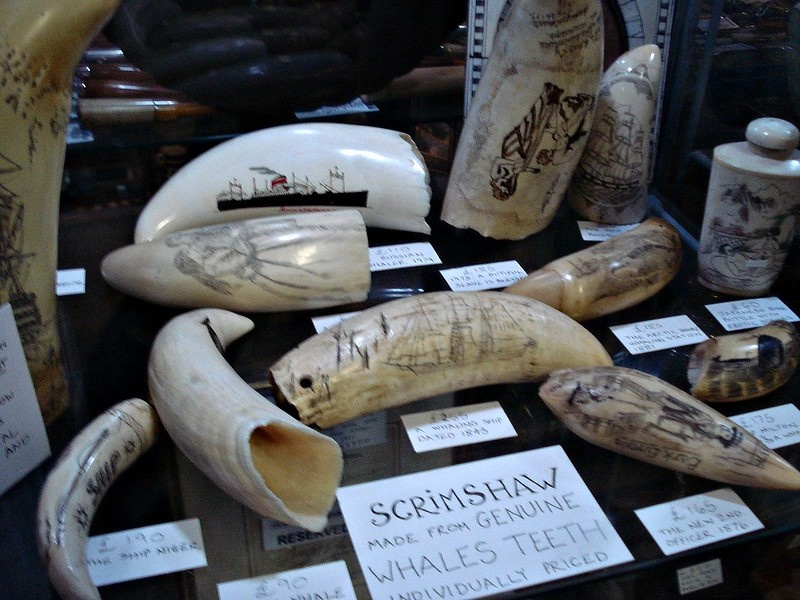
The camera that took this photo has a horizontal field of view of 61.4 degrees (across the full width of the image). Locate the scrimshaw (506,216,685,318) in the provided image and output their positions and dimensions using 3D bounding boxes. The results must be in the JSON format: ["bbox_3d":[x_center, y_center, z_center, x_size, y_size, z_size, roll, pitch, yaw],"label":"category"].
[{"bbox_3d":[0.343,-0.035,1.125,0.316,0.095,0.125,-19,43,-22],"label":"scrimshaw"}]

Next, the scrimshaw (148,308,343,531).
[{"bbox_3d":[-0.218,0.137,0.862,0.167,0.122,0.386,-13,41,-34],"label":"scrimshaw"}]

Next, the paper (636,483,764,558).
[{"bbox_3d":[0.375,0.273,0.832,0.143,0.016,0.061,-13,40,-9],"label":"paper"}]

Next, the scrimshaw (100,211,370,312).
[{"bbox_3d":[-0.219,-0.056,1.023,0.392,0.146,0.157,-1,44,-4],"label":"scrimshaw"}]
